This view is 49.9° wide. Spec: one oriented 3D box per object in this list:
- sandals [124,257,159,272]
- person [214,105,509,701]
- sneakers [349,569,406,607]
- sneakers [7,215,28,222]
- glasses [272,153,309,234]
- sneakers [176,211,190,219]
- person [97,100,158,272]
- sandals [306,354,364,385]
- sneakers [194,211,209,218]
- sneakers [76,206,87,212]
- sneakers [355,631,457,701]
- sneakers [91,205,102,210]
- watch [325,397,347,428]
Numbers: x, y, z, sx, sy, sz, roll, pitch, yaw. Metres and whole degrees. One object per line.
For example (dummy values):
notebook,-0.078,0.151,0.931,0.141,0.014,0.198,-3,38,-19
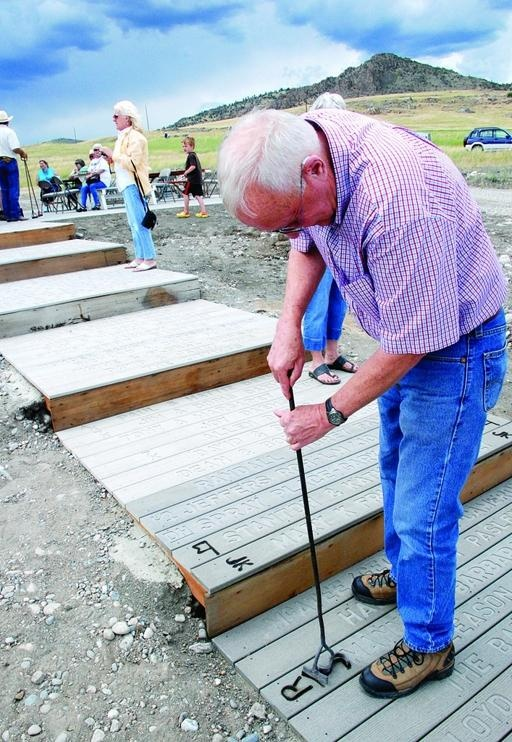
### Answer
sandals,-1.333,-1.255,6.533,0.321,0.090,0.252,-8,14,-40
person,0.397,0.140,1.640,0.573,1.783,0.583,2,23,32
sneakers,0.461,0.833,2.131,0.241,0.101,0.079,6,31,3
sneakers,-4.767,-3.045,10.976,0.420,0.148,0.128,-8,23,-23
glasses,0.072,-0.421,1.374,0.042,0.120,0.129,-4,5,23
sneakers,-1.772,-3.786,13.326,0.360,0.142,0.184,-2,18,-6
person,-1.454,-2.061,6.214,0.676,1.728,0.575,-1,24,-6
sandals,0.556,0.005,4.032,0.248,0.082,0.312,14,28,36
sneakers,-1.309,-3.752,13.211,0.167,0.111,0.282,-18,26,-34
sneakers,-4.735,-4.411,15.029,0.154,0.151,0.413,7,12,33
sneakers,0.467,0.940,1.784,0.350,0.148,0.120,-7,38,-13
sneakers,-4.418,-4.509,15.245,0.280,0.132,0.134,3,6,34
watch,0.224,0.113,1.534,0.055,0.078,0.070,-25,47,-7
